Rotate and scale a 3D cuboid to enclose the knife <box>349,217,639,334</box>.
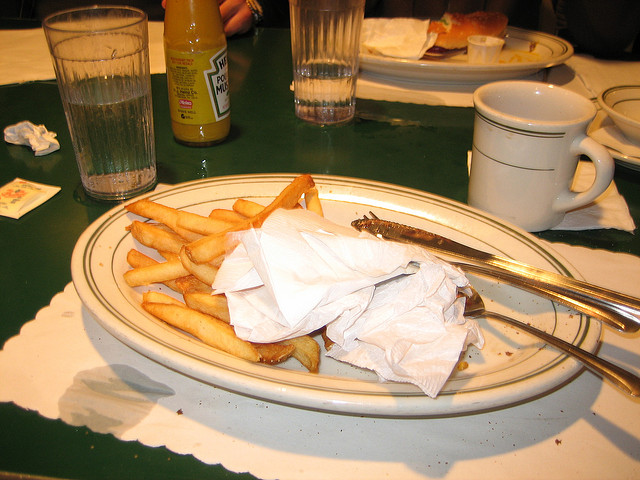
[{"bbox_3d":[0.334,0.078,1.069,0.467,0.041,0.056,25,35,28],"label":"knife"}]

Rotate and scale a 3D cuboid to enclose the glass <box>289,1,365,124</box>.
[{"bbox_3d":[0.025,-0.584,1.729,0.233,0.342,0.201,-2,37,-3],"label":"glass"}]

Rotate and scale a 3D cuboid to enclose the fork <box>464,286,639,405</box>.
[{"bbox_3d":[0.434,0.202,0.977,0.060,0.029,0.339,-22,38,-29],"label":"fork"}]

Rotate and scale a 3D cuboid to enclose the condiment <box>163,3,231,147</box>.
[{"bbox_3d":[-0.351,-0.457,1.505,0.180,0.396,0.140,-10,37,-13],"label":"condiment"}]

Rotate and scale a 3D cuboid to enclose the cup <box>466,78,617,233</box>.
[{"bbox_3d":[0.547,-0.191,1.309,0.237,0.308,0.376,-19,37,-18],"label":"cup"}]

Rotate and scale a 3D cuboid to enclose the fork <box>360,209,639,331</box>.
[{"bbox_3d":[0.355,0.068,1.087,0.521,0.028,0.065,26,87,21],"label":"fork"}]

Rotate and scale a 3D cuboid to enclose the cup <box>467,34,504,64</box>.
[{"bbox_3d":[0.656,-0.752,2.146,0.129,0.107,0.132,2,34,-1],"label":"cup"}]

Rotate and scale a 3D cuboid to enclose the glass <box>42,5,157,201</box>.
[{"bbox_3d":[-0.539,-0.366,1.374,0.220,0.401,0.343,-4,38,-5],"label":"glass"}]

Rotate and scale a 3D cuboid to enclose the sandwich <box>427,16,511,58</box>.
[{"bbox_3d":[0.691,-0.912,2.475,0.360,0.120,0.273,-1,51,1],"label":"sandwich"}]
